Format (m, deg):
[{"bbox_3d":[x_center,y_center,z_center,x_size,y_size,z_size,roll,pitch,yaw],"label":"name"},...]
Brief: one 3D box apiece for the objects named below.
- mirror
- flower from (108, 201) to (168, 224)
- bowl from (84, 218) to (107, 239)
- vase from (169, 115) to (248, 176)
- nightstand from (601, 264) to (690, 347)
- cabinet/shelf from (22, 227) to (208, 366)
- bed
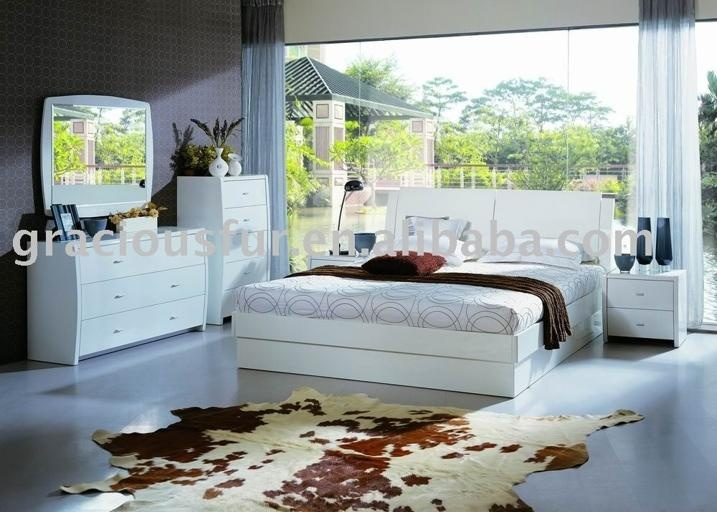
[{"bbox_3d":[-2.567,-0.955,5.160,0.098,1.221,1.310,2,4,29],"label":"mirror"},{"bbox_3d":[-2.252,-0.423,5.380,0.270,0.124,0.354,-3,6,28],"label":"flower"},{"bbox_3d":[-2.507,-0.260,5.111,0.174,0.147,0.203,0,-4,-14],"label":"bowl"},{"bbox_3d":[-1.731,-1.269,6.219,0.467,0.715,0.781,2,6,23],"label":"vase"},{"bbox_3d":[2.679,0.558,5.417,0.862,0.673,0.825,5,-7,-11],"label":"nightstand"},{"bbox_3d":[-2.317,0.347,5.383,0.687,1.053,1.785,2,4,21],"label":"cabinet/shelf"},{"bbox_3d":[0.808,0.186,5.339,2.789,1.436,2.973,0,5,31],"label":"bed"}]
